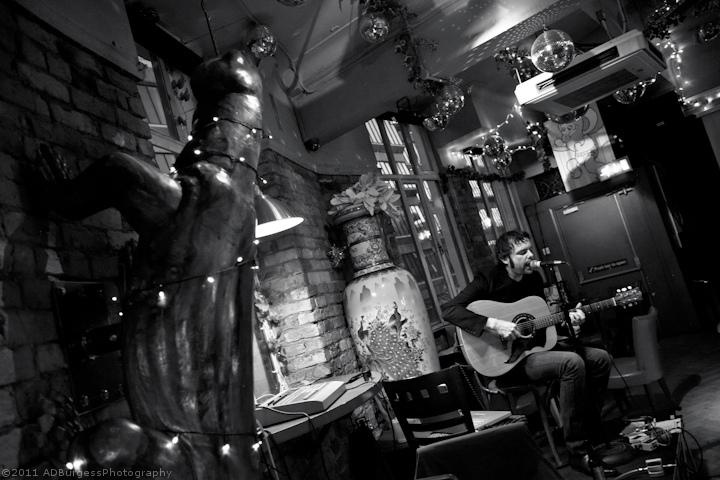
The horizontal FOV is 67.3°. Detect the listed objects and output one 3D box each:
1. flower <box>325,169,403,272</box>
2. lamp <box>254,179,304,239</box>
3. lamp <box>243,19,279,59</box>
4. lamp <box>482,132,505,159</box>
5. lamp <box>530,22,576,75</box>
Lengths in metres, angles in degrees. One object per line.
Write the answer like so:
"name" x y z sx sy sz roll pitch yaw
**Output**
"flower" 0.000 -0.158 4.683 0.654 0.819 0.653 -12 -25 3
"lamp" -0.491 -0.173 3.103 0.280 0.312 0.305 -11 1 11
"lamp" -0.566 -1.140 3.067 0.143 0.191 0.167 -18 -12 15
"lamp" 1.450 -1.004 5.720 0.248 0.289 0.253 -5 8 36
"lamp" 1.262 -1.276 3.697 0.278 0.397 0.282 -2 0 9
